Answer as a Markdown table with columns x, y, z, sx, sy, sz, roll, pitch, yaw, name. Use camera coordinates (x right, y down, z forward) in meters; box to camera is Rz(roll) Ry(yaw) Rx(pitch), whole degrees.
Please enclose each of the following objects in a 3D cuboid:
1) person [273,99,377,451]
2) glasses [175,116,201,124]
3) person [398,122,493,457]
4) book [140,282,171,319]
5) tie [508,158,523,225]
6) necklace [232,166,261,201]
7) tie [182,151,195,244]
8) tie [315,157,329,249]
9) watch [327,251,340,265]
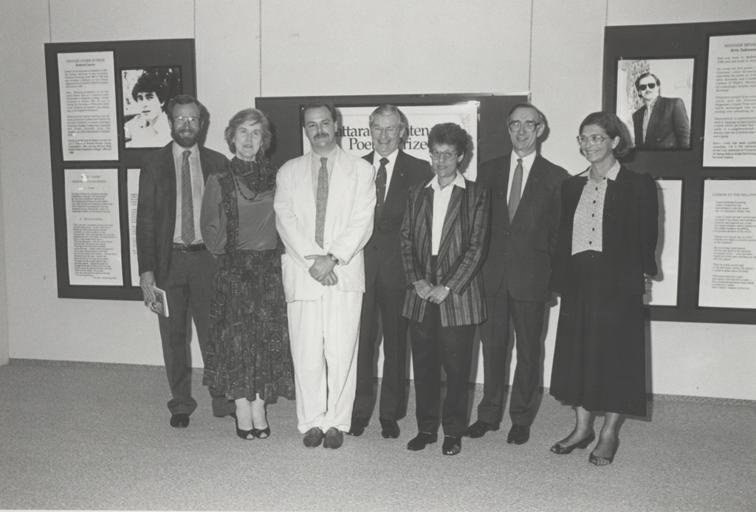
| x | y | z | sx | sy | sz | roll | pitch | yaw | name |
| --- | --- | --- | --- | --- | --- | --- | --- | --- | --- |
| -0.366 | 0.147 | 5.096 | 0.736 | 2.463 | 0.616 | -3 | 12 | -9 | person |
| -1.516 | -1.072 | 5.494 | 0.205 | 0.067 | 0.070 | -7 | 14 | -24 | glasses |
| 0.473 | 0.241 | 5.005 | 0.631 | 2.334 | 0.549 | 1 | 12 | 8 | person |
| -1.798 | 0.356 | 5.606 | 0.044 | 0.309 | 0.316 | -17 | 35 | -41 | book |
| 1.046 | -0.482 | 5.283 | 0.077 | 0.541 | 0.027 | 5 | -10 | 23 | tie |
| -0.950 | -0.565 | 5.096 | 0.246 | 0.293 | 0.096 | -5 | 13 | -16 | necklace |
| -1.523 | -0.458 | 5.485 | 0.099 | 0.715 | 0.233 | -4 | 13 | -13 | tie |
| -0.409 | -0.391 | 5.081 | 0.091 | 0.622 | 0.185 | 1 | 13 | 10 | tie |
| -0.316 | 0.023 | 4.972 | 0.085 | 0.044 | 0.066 | 37 | -3 | -19 | watch |
